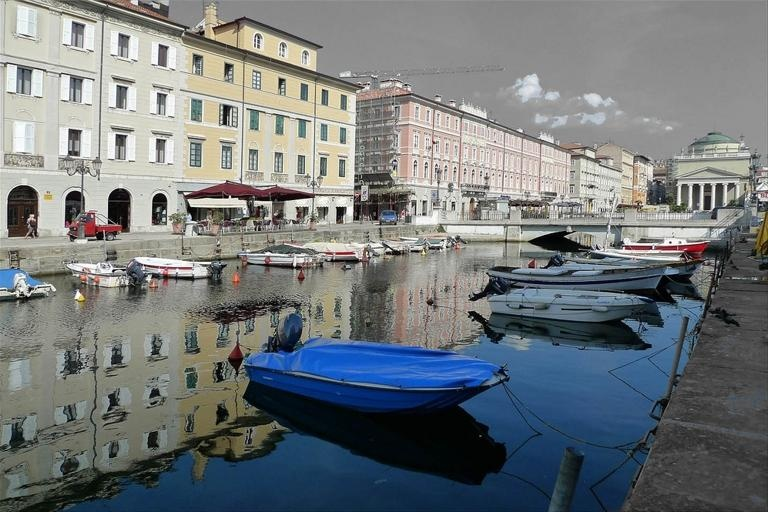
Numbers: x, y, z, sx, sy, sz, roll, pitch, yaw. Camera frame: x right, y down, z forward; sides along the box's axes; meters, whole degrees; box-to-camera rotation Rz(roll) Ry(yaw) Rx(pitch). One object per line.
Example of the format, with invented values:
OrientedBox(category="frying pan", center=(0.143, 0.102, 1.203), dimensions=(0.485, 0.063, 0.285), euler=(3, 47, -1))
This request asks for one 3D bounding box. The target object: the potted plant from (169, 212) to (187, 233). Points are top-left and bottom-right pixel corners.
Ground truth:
OrientedBox(category="potted plant", center=(-14.293, -2.324, 48.636), dimensions=(1.738, 1.662, 1.469), euler=(0, -2, -8))

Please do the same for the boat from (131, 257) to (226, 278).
OrientedBox(category="boat", center=(-11.319, 0.633, 39.003), dimensions=(4.597, 0.922, 1.840), euler=(5, 8, 8))

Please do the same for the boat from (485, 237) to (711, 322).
OrientedBox(category="boat", center=(11.734, 1.177, 38.426), dimensions=(9.735, 2.486, 17.036), euler=(10, 16, 29))

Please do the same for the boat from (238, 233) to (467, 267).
OrientedBox(category="boat", center=(-0.899, -0.381, 52.515), dimensions=(18.361, 2.586, 4.672), euler=(0, 0, -32))

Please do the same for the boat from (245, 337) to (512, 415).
OrientedBox(category="boat", center=(-0.300, 3.799, 22.497), dimensions=(7.978, 2.078, 2.863), euler=(6, 12, 21))

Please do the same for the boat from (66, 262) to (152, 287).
OrientedBox(category="boat", center=(-14.044, 0.927, 36.023), dimensions=(3.917, 1.197, 1.708), euler=(1, 14, -4))
